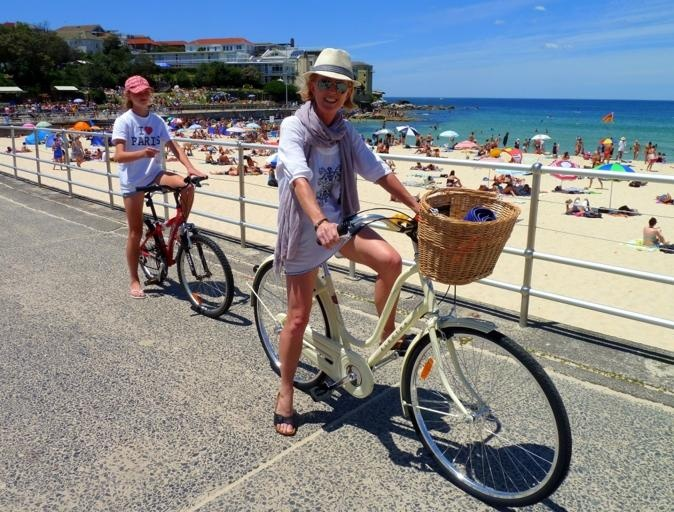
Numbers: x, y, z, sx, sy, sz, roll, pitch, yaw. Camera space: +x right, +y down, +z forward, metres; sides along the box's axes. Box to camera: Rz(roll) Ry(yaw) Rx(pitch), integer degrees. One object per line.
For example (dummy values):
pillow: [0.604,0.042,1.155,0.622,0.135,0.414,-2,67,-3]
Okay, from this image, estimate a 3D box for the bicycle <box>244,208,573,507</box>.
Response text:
bicycle: [0.318,0.677,3.331,1.079,1.180,2.318,-4,11,-45]

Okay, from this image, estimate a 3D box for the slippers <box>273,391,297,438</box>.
slippers: [-0.325,1.014,3.345,0.188,0.070,0.531,1,16,-6]

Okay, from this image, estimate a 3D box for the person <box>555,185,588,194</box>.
person: [9.810,-2.791,21.979,1.328,0.266,1.857,7,16,22]

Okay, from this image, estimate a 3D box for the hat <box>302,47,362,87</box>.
hat: [-0.027,-1.075,2.962,0.281,0.184,0.312,1,16,0]

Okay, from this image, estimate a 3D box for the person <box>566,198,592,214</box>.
person: [8.081,-1.706,17.526,0.673,0.566,2.635,8,16,20]

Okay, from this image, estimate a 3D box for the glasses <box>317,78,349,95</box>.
glasses: [-0.016,-0.968,2.990,0.182,0.095,0.043,1,18,-2]

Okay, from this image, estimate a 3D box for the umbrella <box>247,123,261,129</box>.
umbrella: [-8.555,-13.959,55.888,1.546,0.611,1.445,-10,21,-32]

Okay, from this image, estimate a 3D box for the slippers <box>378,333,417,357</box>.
slippers: [0.385,0.530,3.107,0.254,0.088,0.073,-17,8,5]

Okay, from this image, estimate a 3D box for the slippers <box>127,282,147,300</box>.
slippers: [-1.964,0.350,5.213,0.110,0.063,0.262,-6,10,-38]

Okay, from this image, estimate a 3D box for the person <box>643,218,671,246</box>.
person: [7.847,-0.585,12.905,0.541,0.586,1.017,10,18,27]

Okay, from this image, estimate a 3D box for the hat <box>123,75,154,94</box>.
hat: [-1.895,-1.641,5.049,0.209,0.135,0.272,-19,23,-37]
